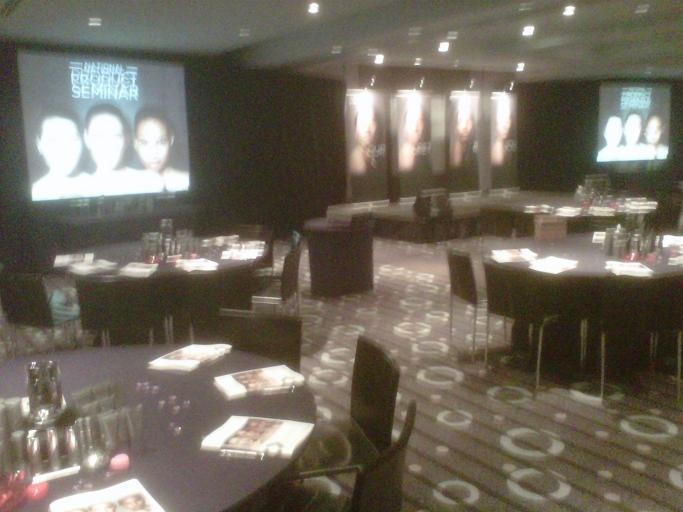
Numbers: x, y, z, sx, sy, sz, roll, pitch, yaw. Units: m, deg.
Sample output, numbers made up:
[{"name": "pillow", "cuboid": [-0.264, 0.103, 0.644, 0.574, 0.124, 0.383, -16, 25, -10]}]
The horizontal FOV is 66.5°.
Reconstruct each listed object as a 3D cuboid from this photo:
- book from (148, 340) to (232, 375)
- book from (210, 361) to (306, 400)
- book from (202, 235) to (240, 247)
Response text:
[{"name": "book", "cuboid": [-0.804, 0.540, 2.776, 0.280, 0.059, 0.395, 2, 8, 33]}, {"name": "book", "cuboid": [-0.403, 0.609, 2.549, 0.424, 0.062, 0.260, -4, 7, -16]}, {"name": "book", "cuboid": [-1.249, -0.154, 5.365, 0.220, 0.049, 0.221, 3, 15, 18]}]
